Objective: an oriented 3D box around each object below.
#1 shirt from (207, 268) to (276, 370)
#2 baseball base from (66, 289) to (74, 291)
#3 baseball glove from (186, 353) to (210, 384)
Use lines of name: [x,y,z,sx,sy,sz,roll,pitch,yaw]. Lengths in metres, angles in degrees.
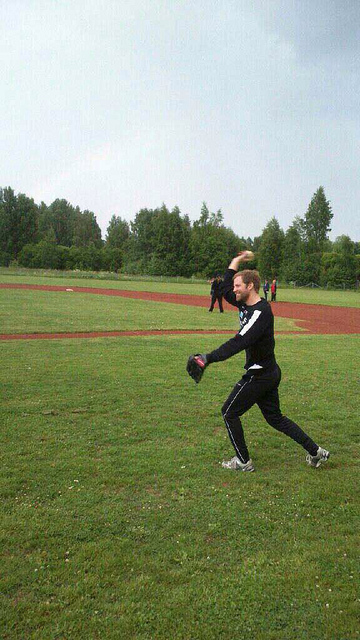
shirt: [0.670,0.033,4.944,0.723,1.195,0.866,-5,13,-2]
baseball base: [-6.999,-1.918,31.408,0.163,0.152,0.470,-5,2,24]
baseball glove: [0.200,0.437,4.609,0.113,0.198,0.255,-2,-39,-39]
